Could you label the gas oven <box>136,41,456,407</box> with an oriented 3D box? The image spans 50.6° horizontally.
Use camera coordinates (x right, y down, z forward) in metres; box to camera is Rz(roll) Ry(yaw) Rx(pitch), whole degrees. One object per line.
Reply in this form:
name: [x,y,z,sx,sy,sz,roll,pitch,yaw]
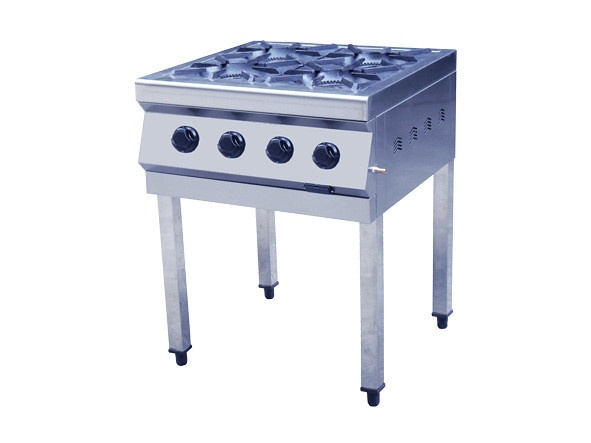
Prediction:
gas oven: [0.045,-0.039,2.705,1.304,1.168,1.236,-8,16,-27]
